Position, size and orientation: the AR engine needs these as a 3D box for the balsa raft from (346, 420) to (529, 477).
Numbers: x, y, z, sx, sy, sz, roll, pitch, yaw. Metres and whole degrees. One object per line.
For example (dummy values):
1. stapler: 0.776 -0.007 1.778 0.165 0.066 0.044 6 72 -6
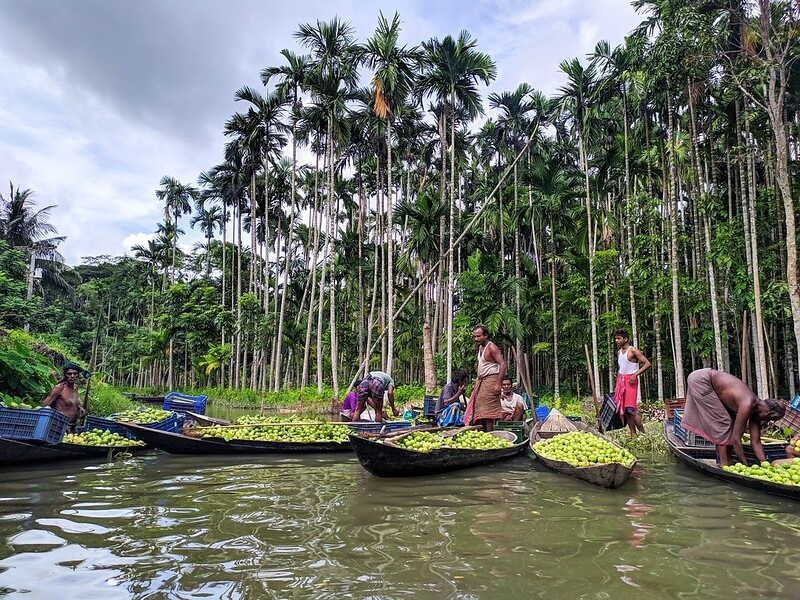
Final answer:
1. balsa raft: 1.096 2.969 12.410 4.089 0.752 1.309 15 -23 -35

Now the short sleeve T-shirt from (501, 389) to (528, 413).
1. short sleeve T-shirt: 2.765 2.596 14.922 0.687 0.562 0.384 -9 -28 23

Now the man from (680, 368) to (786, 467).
1. man: 6.004 2.069 11.237 1.560 1.661 0.549 -8 -14 31

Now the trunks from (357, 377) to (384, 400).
1. trunks: -0.689 1.974 14.312 0.629 0.631 0.398 6 -43 -4

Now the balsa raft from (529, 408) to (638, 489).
1. balsa raft: 3.493 2.864 12.068 1.471 1.462 2.713 1 -13 -5

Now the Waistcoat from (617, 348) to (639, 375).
1. Waistcoat: 5.018 1.337 13.506 0.404 0.589 0.297 -10 -15 37

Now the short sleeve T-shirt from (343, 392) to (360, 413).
1. short sleeve T-shirt: -1.200 2.534 15.264 0.653 0.557 0.379 4 -9 -9

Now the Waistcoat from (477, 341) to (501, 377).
1. Waistcoat: 1.888 1.270 13.292 0.520 0.717 0.263 -12 -16 42

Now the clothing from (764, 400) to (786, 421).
1. clothing: 6.682 1.913 10.861 0.292 0.391 0.390 -11 -8 7
